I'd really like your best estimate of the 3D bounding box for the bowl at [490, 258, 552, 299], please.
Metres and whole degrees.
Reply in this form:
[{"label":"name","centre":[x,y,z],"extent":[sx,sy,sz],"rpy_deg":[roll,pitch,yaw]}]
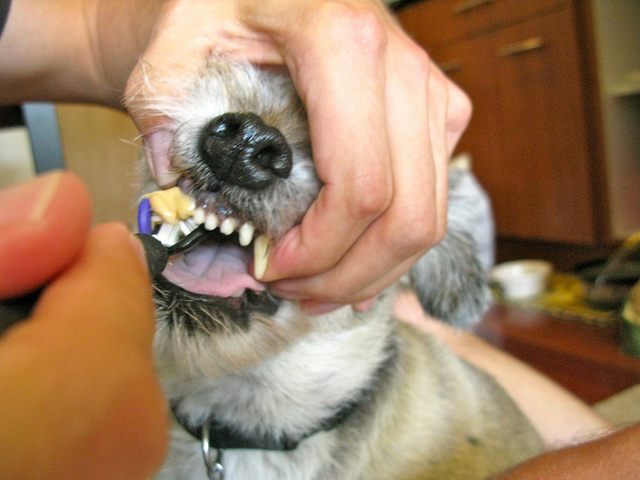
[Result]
[{"label":"bowl","centre":[0.524,0.098,1.571],"extent":[0.096,0.047,0.108],"rpy_deg":[-16,16,-1]}]
